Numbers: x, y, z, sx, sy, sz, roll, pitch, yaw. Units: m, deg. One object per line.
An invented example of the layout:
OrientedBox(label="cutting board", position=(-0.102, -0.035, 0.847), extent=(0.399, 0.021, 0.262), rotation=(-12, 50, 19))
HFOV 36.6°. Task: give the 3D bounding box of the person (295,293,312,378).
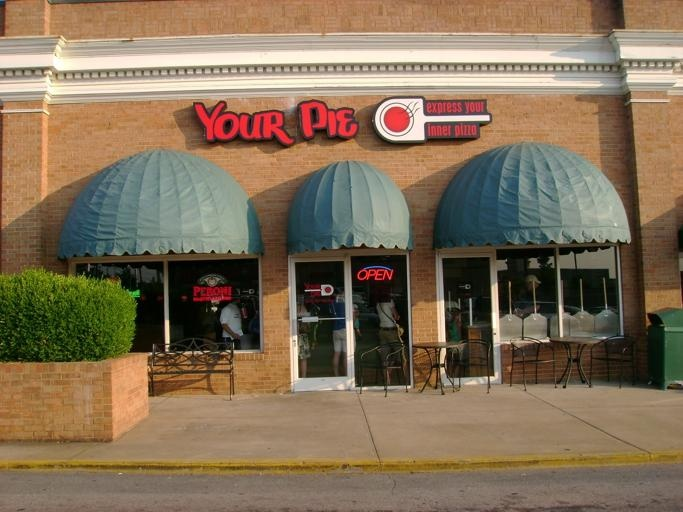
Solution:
OrientedBox(label="person", position=(-0.873, 1.865, 23.979), extent=(0.310, 1.883, 0.331), rotation=(0, -13, -2))

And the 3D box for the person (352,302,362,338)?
OrientedBox(label="person", position=(0.363, 1.501, 24.043), extent=(0.170, 0.725, 0.187), rotation=(-1, -13, 1))

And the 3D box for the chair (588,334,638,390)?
OrientedBox(label="chair", position=(6.532, 2.525, 24.476), extent=(1.163, 1.598, 1.246), rotation=(13, -16, -43))

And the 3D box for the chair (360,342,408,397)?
OrientedBox(label="chair", position=(1.006, 2.576, 23.860), extent=(1.013, 0.985, 0.872), rotation=(0, -4, 43))

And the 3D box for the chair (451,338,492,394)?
OrientedBox(label="chair", position=(3.079, 2.458, 23.945), extent=(0.872, 1.263, 0.925), rotation=(-2, -11, 19))

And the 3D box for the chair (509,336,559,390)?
OrientedBox(label="chair", position=(4.456, 2.535, 24.468), extent=(1.246, 1.491, 1.049), rotation=(2, -9, -20))

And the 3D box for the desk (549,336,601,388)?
OrientedBox(label="desk", position=(5.446, 2.443, 24.042), extent=(1.113, 0.991, 1.168), rotation=(0, -7, 5))

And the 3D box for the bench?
OrientedBox(label="bench", position=(-3.486, 2.597, 23.930), extent=(1.971, 1.214, 0.607), rotation=(0, -11, -6))

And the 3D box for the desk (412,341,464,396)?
OrientedBox(label="desk", position=(2.256, 2.560, 23.967), extent=(1.146, 0.978, 1.169), rotation=(0, -5, -11))

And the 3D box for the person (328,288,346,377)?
OrientedBox(label="person", position=(-0.062, 1.766, 23.996), extent=(0.334, 1.985, 0.383), rotation=(-1, -13, 0))
